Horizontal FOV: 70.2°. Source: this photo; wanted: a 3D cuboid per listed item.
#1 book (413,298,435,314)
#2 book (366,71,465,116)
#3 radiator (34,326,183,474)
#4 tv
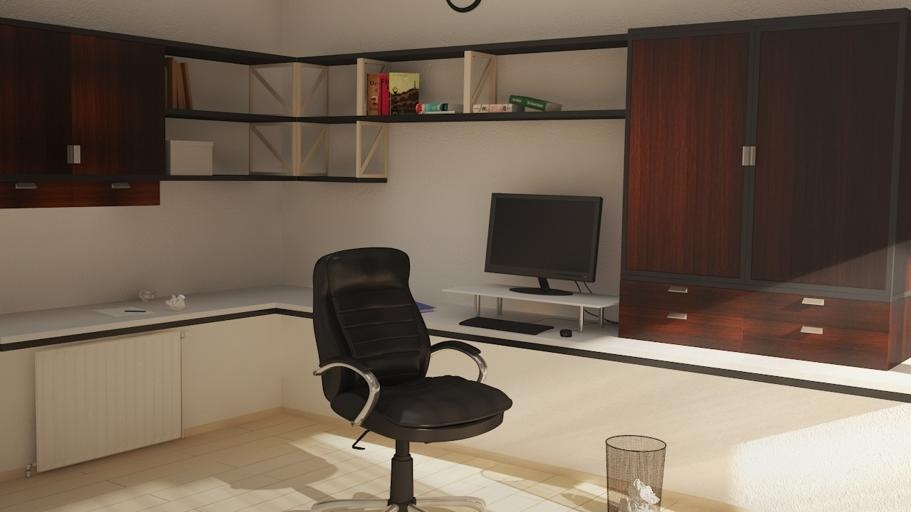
[{"bbox_3d":[-0.266,0.429,5.488,0.197,0.031,0.172,2,8,-7],"label":"book"},{"bbox_3d":[-0.352,-1.444,5.786,0.806,0.304,0.416,2,3,19],"label":"book"},{"bbox_3d":[-2.687,1.118,5.156,1.410,0.915,0.118,-13,-19,12],"label":"radiator"},{"bbox_3d":[0.733,-0.094,5.326,0.332,0.801,1.140,-6,9,-43],"label":"tv"}]
